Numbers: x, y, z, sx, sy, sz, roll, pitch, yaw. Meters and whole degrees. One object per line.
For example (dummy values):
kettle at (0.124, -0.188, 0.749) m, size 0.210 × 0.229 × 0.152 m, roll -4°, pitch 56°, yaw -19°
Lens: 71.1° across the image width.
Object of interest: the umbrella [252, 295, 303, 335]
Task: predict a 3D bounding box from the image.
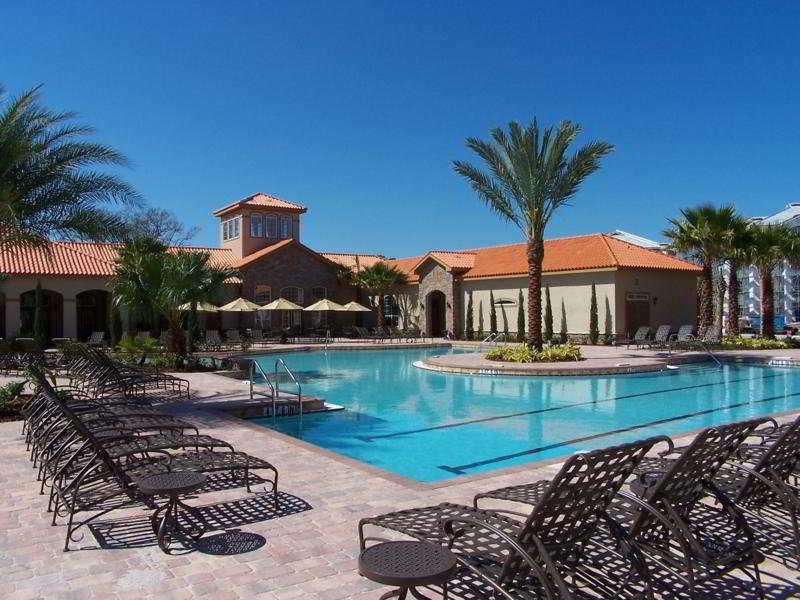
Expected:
umbrella at (-7.633, 1.030, 35.553) m, size 2.458 × 1.761 × 2.470 m, roll 1°, pitch 5°, yaw 28°

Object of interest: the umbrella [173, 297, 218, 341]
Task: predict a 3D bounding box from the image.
umbrella at (-8.827, 0.809, 24.091) m, size 1.997 × 1.317 × 1.954 m, roll -5°, pitch 8°, yaw -34°

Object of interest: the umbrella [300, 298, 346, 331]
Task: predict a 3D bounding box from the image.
umbrella at (-4.505, 0.930, 33.108) m, size 2.157 × 1.503 × 2.162 m, roll 2°, pitch 3°, yaw 33°

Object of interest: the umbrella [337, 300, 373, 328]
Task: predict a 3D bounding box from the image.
umbrella at (-2.806, 0.903, 37.298) m, size 1.877 × 1.330 × 1.919 m, roll -2°, pitch 6°, yaw -6°

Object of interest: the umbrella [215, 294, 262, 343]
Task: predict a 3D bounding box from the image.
umbrella at (-8.815, 0.365, 30.641) m, size 2.513 × 2.000 × 2.443 m, roll 0°, pitch -1°, yaw -3°
